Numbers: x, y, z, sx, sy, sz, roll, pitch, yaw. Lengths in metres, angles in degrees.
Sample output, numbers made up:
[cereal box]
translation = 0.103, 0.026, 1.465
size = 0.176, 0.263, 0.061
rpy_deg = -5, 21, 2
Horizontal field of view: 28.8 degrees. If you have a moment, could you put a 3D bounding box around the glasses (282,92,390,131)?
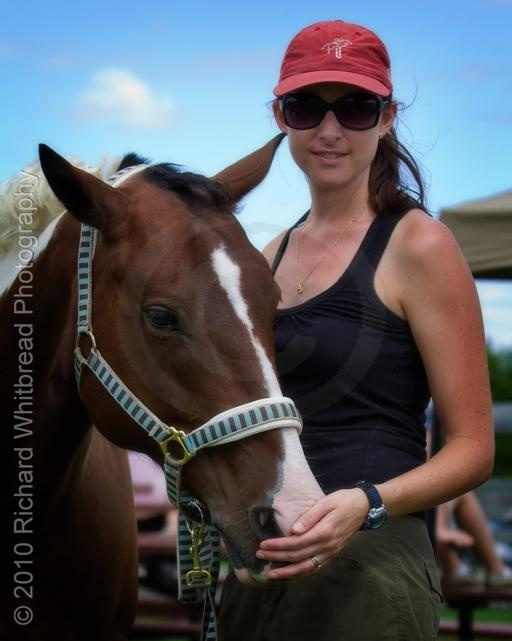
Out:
[glasses]
translation = 0.187, -0.534, 2.622
size = 0.280, 0.103, 0.214
rpy_deg = -1, 7, 37

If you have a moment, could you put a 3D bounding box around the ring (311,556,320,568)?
[ring]
translation = 0.125, 0.509, 2.099
size = 0.006, 0.023, 0.025
rpy_deg = -38, 1, -11
